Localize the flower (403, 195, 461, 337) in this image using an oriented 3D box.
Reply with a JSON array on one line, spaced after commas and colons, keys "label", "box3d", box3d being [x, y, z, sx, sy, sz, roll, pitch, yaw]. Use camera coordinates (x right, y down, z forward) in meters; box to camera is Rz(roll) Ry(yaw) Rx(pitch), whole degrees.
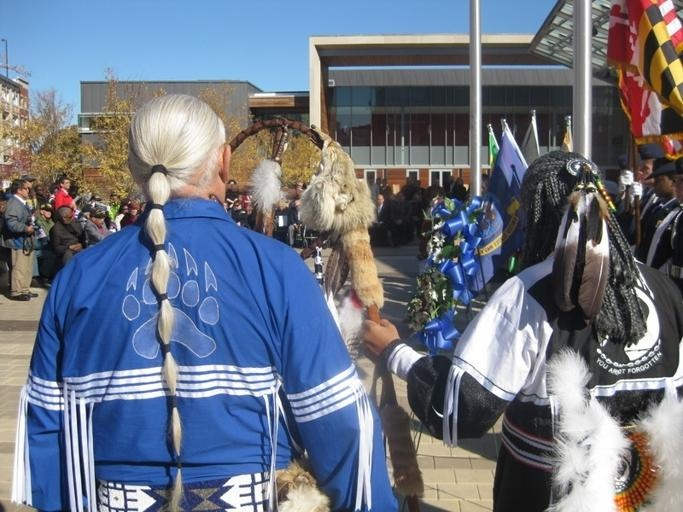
[{"label": "flower", "box3d": [0.772, 0.082, 8.222, 0.326, 1.290, 0.366, 9, 19, 5]}]
